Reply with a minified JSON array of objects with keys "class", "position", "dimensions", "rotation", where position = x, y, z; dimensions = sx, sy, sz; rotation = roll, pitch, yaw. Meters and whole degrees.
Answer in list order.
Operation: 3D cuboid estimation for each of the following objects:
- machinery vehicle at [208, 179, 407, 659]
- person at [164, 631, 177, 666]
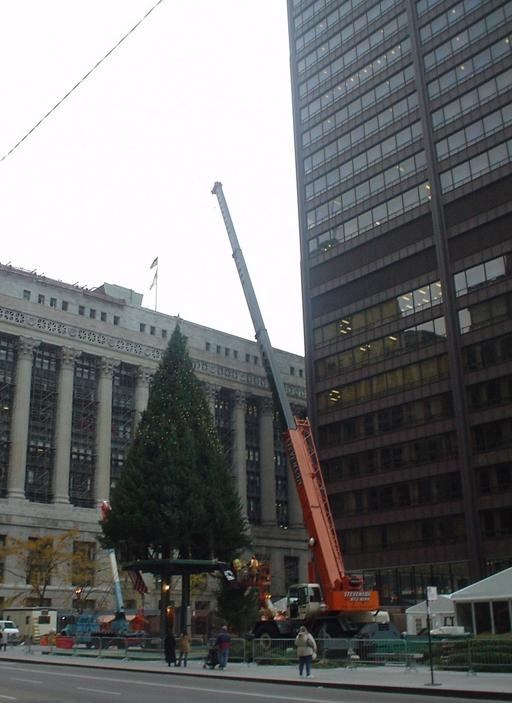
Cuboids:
[{"class":"machinery vehicle","position":[1.814,1.986,36.498],"dimensions":[5.752,22.790,11.451],"rotation":[-2,-17,-2]},{"class":"person","position":[-3.405,11.909,30.659],"dimensions":[0.406,1.206,1.157],"rotation":[0,-17,-7]}]
